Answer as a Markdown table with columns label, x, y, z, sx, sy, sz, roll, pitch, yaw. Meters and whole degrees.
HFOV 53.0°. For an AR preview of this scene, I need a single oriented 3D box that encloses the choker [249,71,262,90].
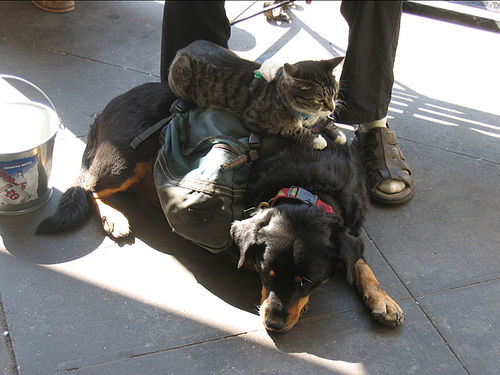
| label | x | y | z | sx | sy | sz | roll | pitch | yaw |
| --- | --- | --- | --- | --- | --- | --- | --- | --- | --- |
| choker | 0.038 | -0.774 | 3.648 | 0.048 | 0.123 | 0.091 | 33 | 20 | 4 |

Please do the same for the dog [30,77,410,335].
| label | x | y | z | sx | sy | sz | roll | pitch | yaw |
| --- | --- | --- | --- | --- | --- | --- | --- | --- | --- |
| dog | -0.209 | 0.025 | 3.725 | 2.252 | 1.024 | 1.302 | 20 | 49 | 18 |

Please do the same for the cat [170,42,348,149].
| label | x | y | z | sx | sy | sz | roll | pitch | yaw |
| --- | --- | --- | --- | --- | --- | --- | --- | --- | --- |
| cat | 0.112 | -0.749 | 4.091 | 1.270 | 0.828 | 1.493 | -2 | 30 | -3 |
